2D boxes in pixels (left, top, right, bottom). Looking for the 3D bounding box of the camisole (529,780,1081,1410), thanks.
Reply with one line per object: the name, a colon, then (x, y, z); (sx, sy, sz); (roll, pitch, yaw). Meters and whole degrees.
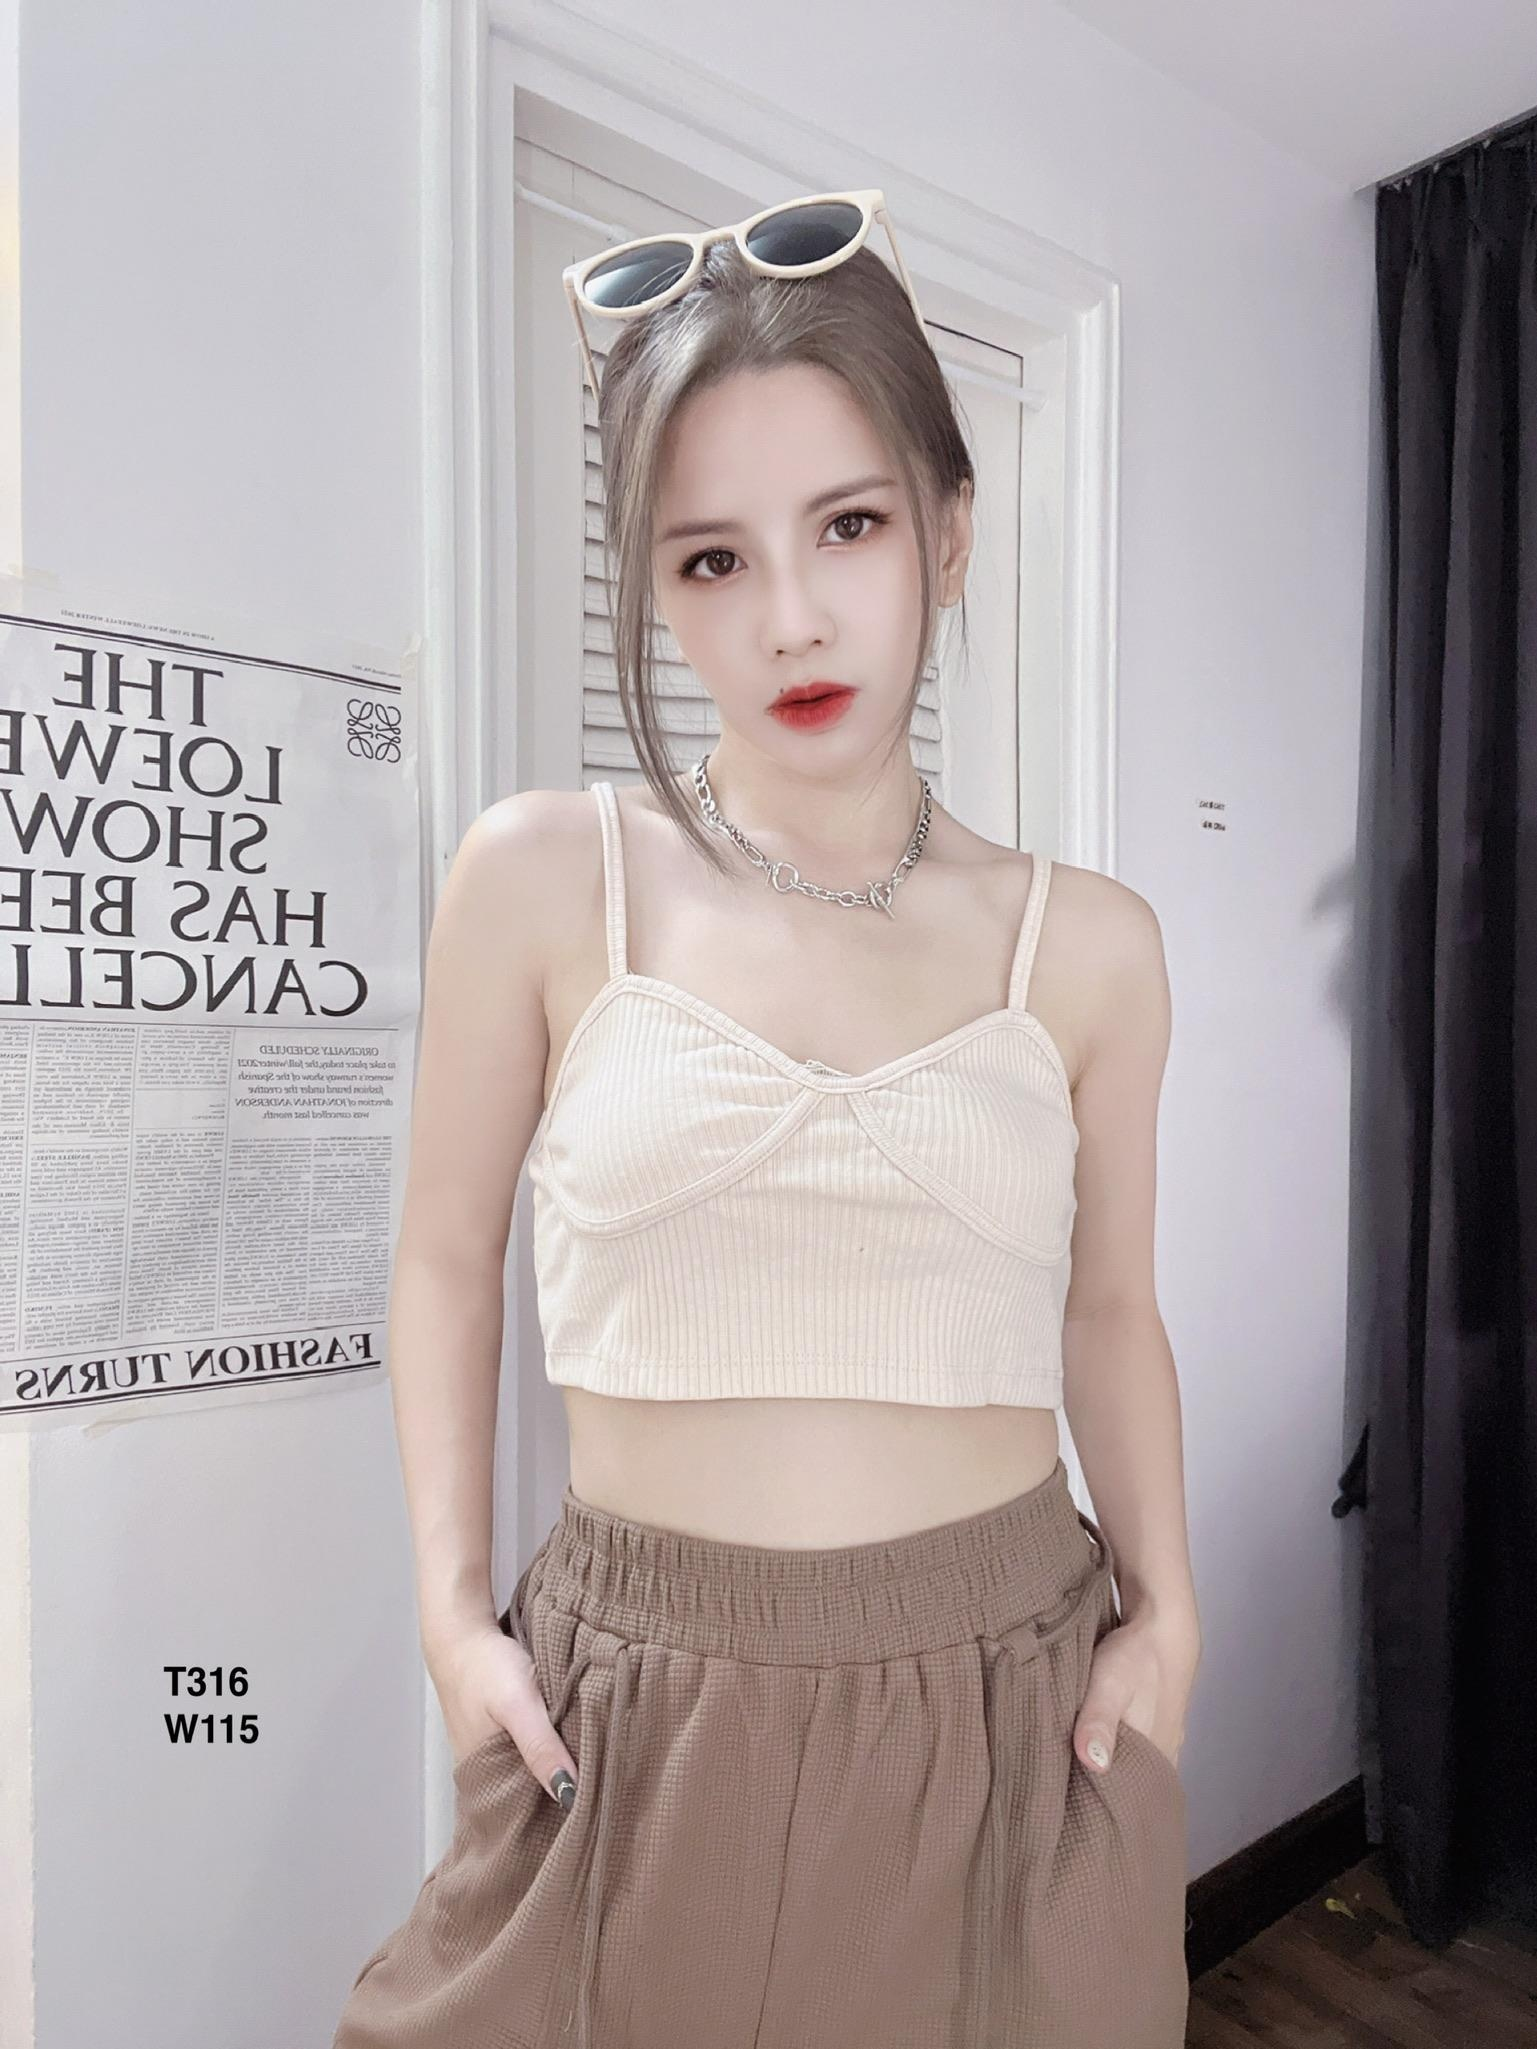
camisole: (0.029, 0.052, 1.441); (0.430, 0.502, 0.272); (4, -14, -4)
